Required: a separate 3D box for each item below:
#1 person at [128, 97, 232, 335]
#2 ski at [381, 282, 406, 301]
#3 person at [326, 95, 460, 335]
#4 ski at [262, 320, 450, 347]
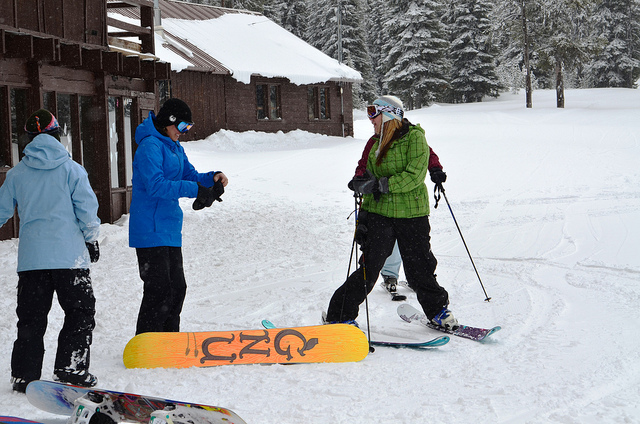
[{"bbox_3d":[-1.728,0.066,7.546,0.779,2.601,0.504,-3,8,-17],"label":"person"},{"bbox_3d":[1.001,1.112,9.474,0.192,0.154,0.482,-5,11,-27],"label":"ski"},{"bbox_3d":[0.868,0.019,8.058,1.412,2.752,0.742,0,8,1],"label":"person"},{"bbox_3d":[0.429,1.420,7.843,1.828,0.153,0.217,3,48,7],"label":"ski"}]
